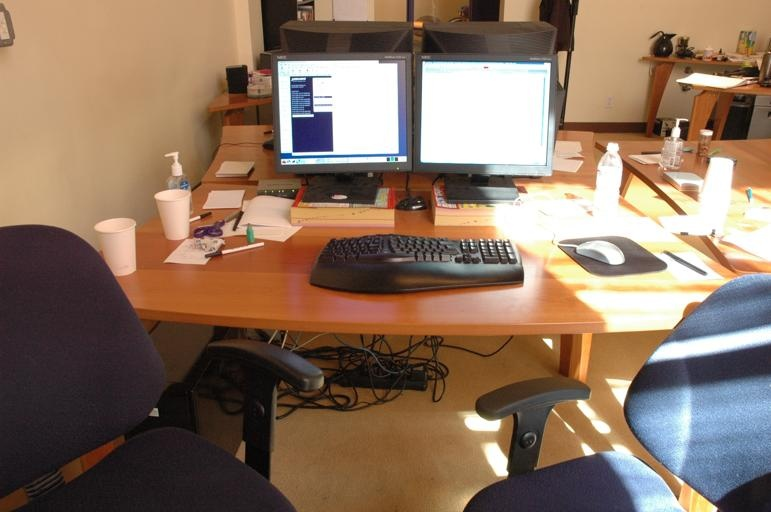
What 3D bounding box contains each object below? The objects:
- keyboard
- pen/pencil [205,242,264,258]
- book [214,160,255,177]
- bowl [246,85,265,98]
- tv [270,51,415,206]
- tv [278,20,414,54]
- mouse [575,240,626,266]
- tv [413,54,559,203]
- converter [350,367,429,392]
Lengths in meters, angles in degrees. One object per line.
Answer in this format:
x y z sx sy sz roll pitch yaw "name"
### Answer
0.102 0.027 1.958 0.554 0.079 0.268 2 31 1 "keyboard"
-0.553 -0.022 2.109 0.220 0.019 0.021 -10 8 -14 "pen/pencil"
-0.727 -0.420 2.791 0.121 0.022 0.107 0 36 0 "book"
-1.023 -1.297 4.562 0.124 0.085 0.180 -6 25 -13 "bowl"
-0.169 -0.519 2.306 0.724 0.581 0.377 -1 25 0 "tv"
-0.175 -0.982 2.607 0.578 0.118 0.128 -3 26 -8 "tv"
0.749 -0.026 2.021 0.083 0.042 0.144 -20 32 -36 "mouse"
0.390 -0.526 2.306 0.733 0.578 0.273 0 24 2 "tv"
0.031 0.592 2.823 0.410 0.112 0.121 1 33 4 "converter"
